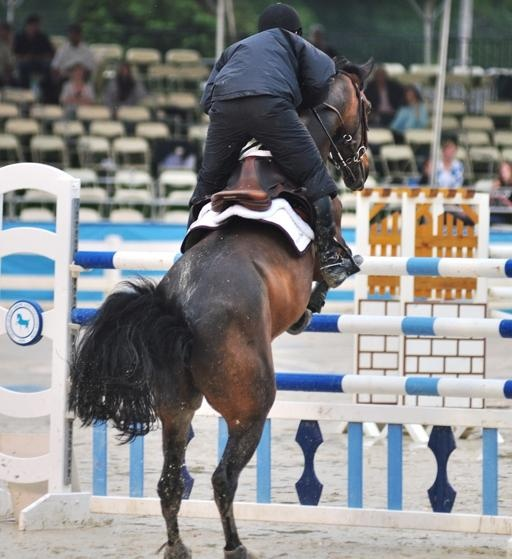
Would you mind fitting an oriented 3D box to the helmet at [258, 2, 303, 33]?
[{"bbox_3d":[0.151,-1.562,10.988,0.184,0.178,0.198,-2,15,-3],"label":"helmet"}]

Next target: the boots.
[{"bbox_3d":[0.470,-0.235,10.796,0.287,0.562,0.216,-7,34,6],"label":"boots"}]
